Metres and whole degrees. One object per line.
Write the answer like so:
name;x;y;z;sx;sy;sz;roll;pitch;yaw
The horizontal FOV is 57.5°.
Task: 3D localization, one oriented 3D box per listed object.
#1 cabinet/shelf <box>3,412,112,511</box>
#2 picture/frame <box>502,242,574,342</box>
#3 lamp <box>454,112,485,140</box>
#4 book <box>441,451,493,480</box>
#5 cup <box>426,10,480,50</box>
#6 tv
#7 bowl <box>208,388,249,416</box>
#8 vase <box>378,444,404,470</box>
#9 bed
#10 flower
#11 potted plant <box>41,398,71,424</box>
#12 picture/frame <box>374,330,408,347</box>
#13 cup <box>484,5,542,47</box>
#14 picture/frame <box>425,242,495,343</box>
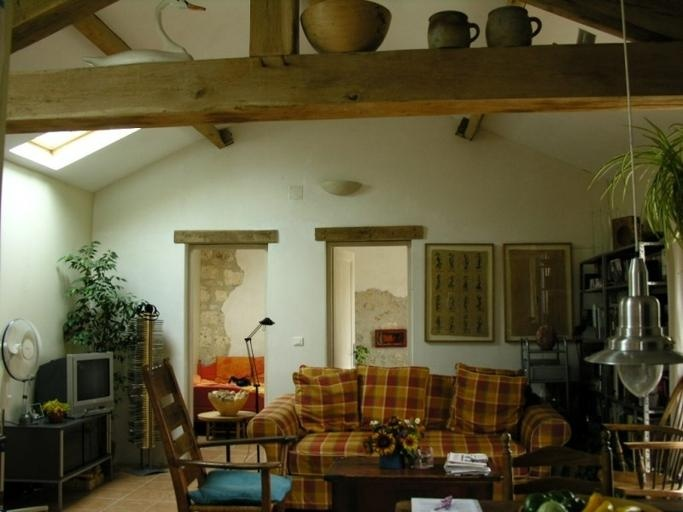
cabinet/shelf;-2.774;1.918;5.949;0.722;0.732;0.880;-2;-3;8
picture/frame;2.138;0.415;6.676;1.032;1.487;0.061;-1;-2;4
lamp;1.354;-1.378;6.661;0.237;0.235;0.060;5;15;-42
book;0.938;1.561;4.674;0.338;0.085;0.411;-2;-3;8
cup;0.684;-1.386;3.824;0.303;0.197;0.229;1;4;16
tv;-2.670;1.232;6.130;0.625;0.615;0.612;-1;-4;12
bowl;-1.157;1.469;6.370;0.328;0.194;0.325;0;-11;0
vase;0.366;1.516;4.657;0.179;0.175;0.179;0;-8;0
bed;-1.538;1.903;8.473;0.918;0.878;0.911;1;1;-7
flower;0.397;1.408;4.855;0.399;0.284;0.400;0;-10;0
potted plant;-2.711;1.462;5.896;0.215;0.187;0.205;0;-11;-1
picture/frame;0.699;1.201;8.961;0.371;0.231;0.045;0;-6;0
cup;1.036;-1.358;3.788;0.320;0.222;0.246;1;7;14
picture/frame;1.305;0.433;6.743;1.065;1.466;0.087;0;-1;1
